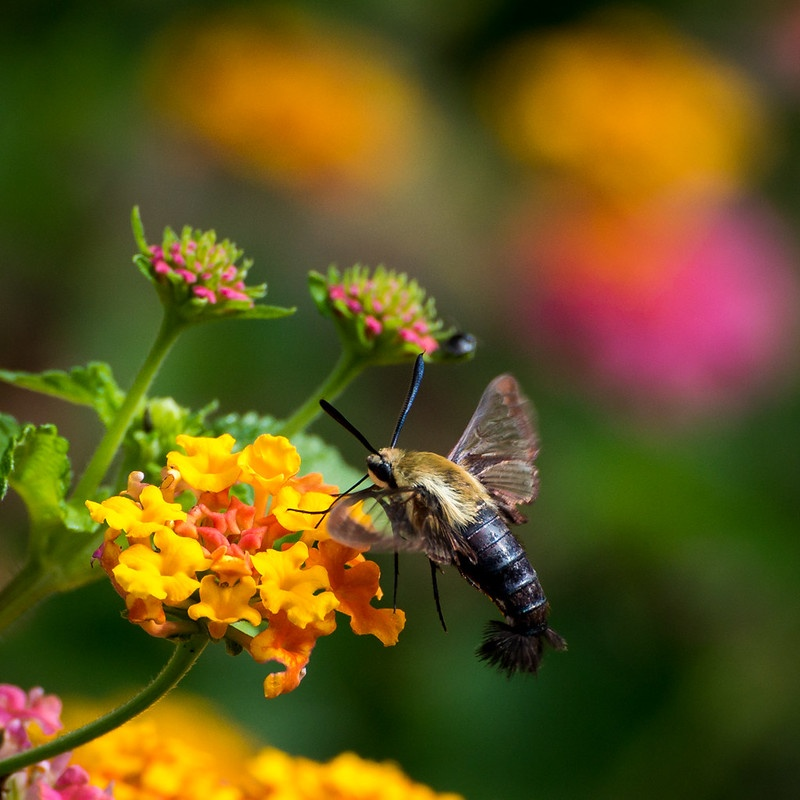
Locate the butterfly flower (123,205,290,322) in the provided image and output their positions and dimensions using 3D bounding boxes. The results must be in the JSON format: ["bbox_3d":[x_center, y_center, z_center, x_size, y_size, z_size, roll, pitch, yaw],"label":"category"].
[{"bbox_3d":[-0.302,-0.186,1.510,0.258,0.162,0.188,20,4,-17],"label":"butterfly flower"}]

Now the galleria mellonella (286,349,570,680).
[{"bbox_3d":[0.075,0.232,1.565,0.531,0.606,0.320,1,1,-13],"label":"galleria mellonella"}]

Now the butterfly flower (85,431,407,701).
[{"bbox_3d":[-0.201,0.188,1.291,0.344,0.312,0.316,24,4,38],"label":"butterfly flower"}]

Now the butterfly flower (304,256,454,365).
[{"bbox_3d":[-0.058,-0.152,1.720,0.227,0.136,0.218,28,6,39],"label":"butterfly flower"}]
